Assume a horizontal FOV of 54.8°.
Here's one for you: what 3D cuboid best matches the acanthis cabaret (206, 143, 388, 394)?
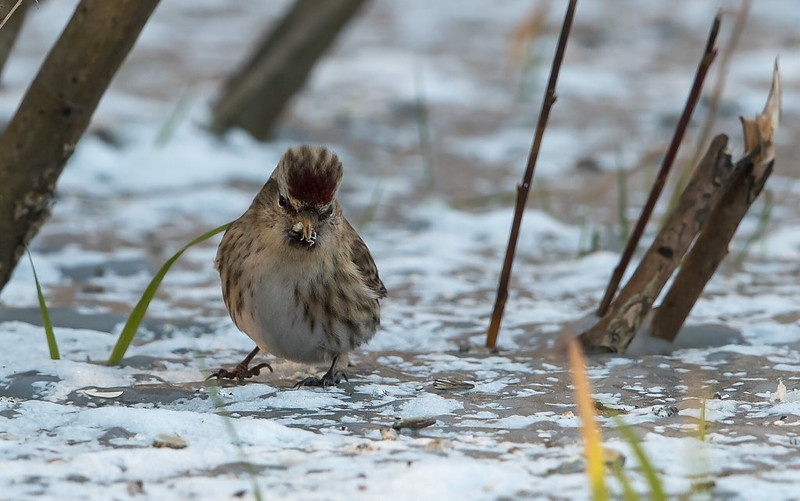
[{"bbox_3d":[-0.527,0.085,4.042,0.896,1.265,0.421,0,16,-2],"label":"acanthis cabaret"}]
